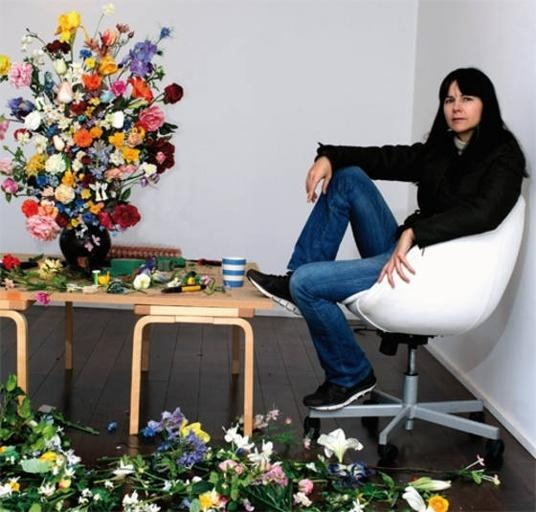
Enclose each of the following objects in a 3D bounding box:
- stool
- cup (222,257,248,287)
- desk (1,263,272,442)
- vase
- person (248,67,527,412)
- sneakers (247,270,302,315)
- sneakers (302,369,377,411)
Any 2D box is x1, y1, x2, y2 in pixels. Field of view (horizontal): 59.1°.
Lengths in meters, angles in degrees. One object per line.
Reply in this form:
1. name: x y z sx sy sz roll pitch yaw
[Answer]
1. stool: 0.520 0.232 1.752 0.707 0.850 0.644 2 -7 11
2. cup: -0.125 0.058 1.730 0.104 0.106 0.099 0 5 0
3. desk: -0.512 0.302 2.061 0.958 0.531 1.191 3 4 -4
4. vase: -0.683 -0.022 1.759 0.184 0.200 0.177 -3 12 -21
5. person: 0.370 -0.096 1.726 0.939 1.123 0.702 11 19 21
6. sneakers: 0.027 0.099 1.705 0.238 0.116 0.081 33 -1 -30
7. sneakers: 0.242 0.480 1.684 0.265 0.108 0.103 -14 7 -13
